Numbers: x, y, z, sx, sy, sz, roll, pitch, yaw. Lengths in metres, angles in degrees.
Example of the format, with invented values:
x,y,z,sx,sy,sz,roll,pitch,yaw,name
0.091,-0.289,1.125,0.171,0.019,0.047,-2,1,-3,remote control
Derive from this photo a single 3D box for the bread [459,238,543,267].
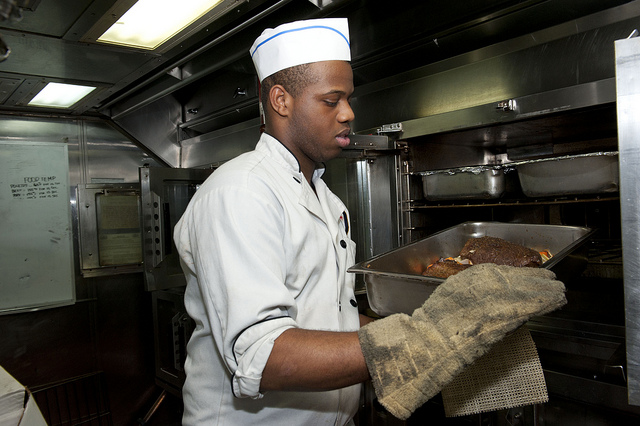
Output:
x,y,z,sx,sy,sz,roll,pitch,yaw,name
0.942,0.205,2.112,0.329,0.101,0.254,14,9,39,bread
